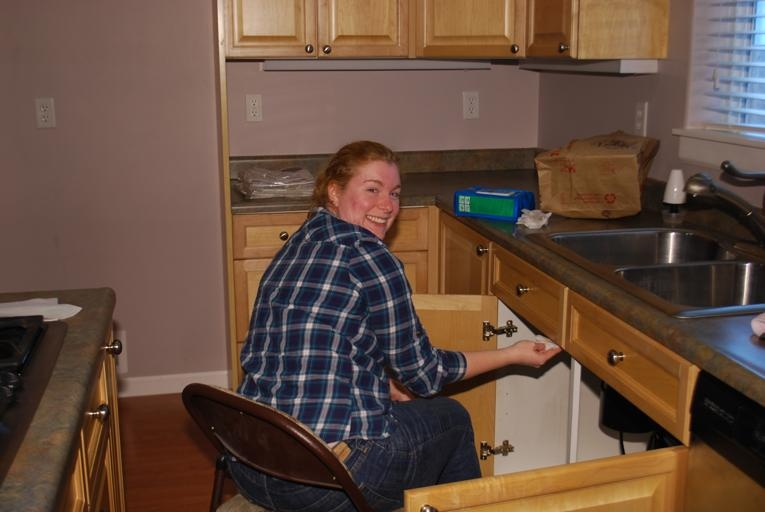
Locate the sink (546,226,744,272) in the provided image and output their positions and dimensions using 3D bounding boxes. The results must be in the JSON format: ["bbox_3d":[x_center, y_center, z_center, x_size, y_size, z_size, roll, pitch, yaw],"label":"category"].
[{"bbox_3d":[0.919,-0.030,2.180,0.320,0.121,0.244,-1,12,-12],"label":"sink"}]

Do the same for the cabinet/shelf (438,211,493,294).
[{"bbox_3d":[0.364,-0.020,2.631,0.232,0.323,0.343,0,11,-11],"label":"cabinet/shelf"}]

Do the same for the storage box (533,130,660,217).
[{"bbox_3d":[0.813,-0.318,2.384,0.418,0.288,0.320,1,7,11],"label":"storage box"}]
